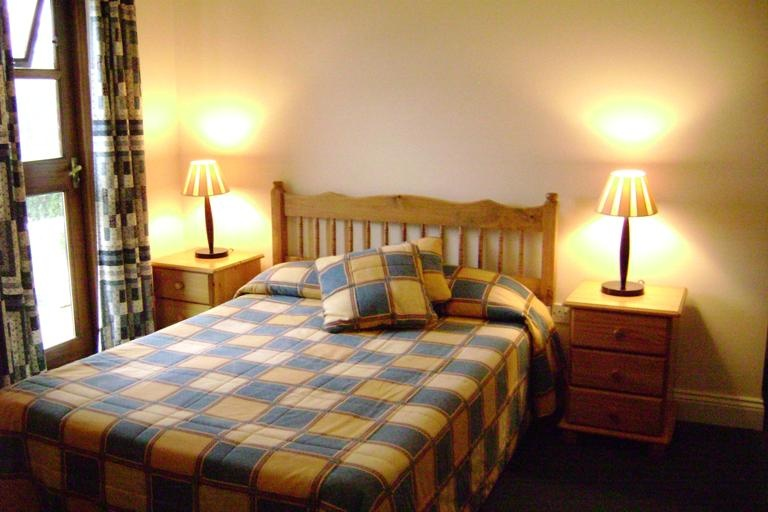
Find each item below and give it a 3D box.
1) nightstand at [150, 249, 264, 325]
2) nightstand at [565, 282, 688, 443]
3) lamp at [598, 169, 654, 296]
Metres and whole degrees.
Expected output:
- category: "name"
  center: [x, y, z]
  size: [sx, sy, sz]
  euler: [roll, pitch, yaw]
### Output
- category: "nightstand"
  center: [-1.307, 0.340, 4.566]
  size: [0.732, 0.591, 0.538]
  euler: [1, 12, 30]
- category: "nightstand"
  center: [1.392, 0.619, 3.905]
  size: [0.969, 1.044, 0.883]
  euler: [2, 6, 25]
- category: "lamp"
  center: [1.464, -0.146, 3.636]
  size: [0.311, 0.749, 0.374]
  euler: [3, 10, 22]
